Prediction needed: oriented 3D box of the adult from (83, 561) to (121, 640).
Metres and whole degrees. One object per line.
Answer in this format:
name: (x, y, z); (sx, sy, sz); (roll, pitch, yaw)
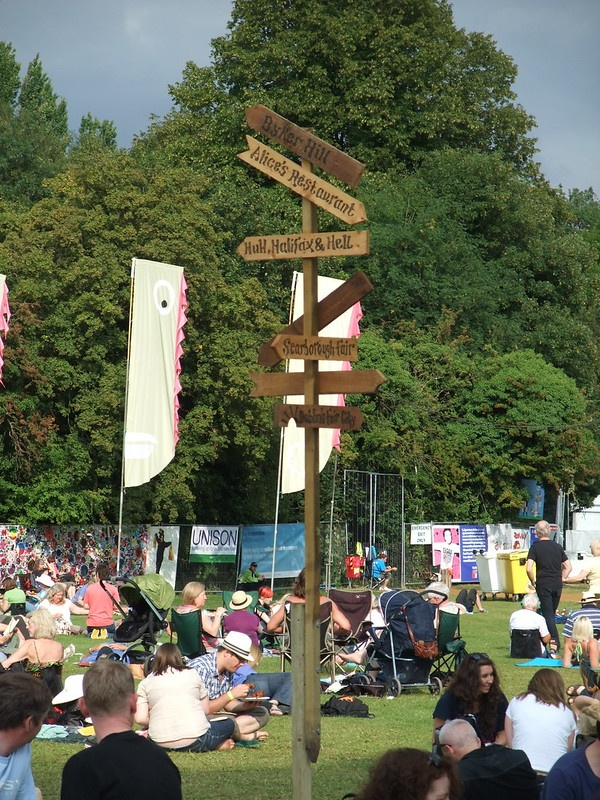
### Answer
adult: (-2.754, 2.798, 19.143); (0.467, 0.985, 0.549); (1, 17, 6)

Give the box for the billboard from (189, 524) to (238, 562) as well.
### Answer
billboard: (-1.994, 3.242, 30.222); (0.875, 0.644, 0.017); (1, -5, -41)

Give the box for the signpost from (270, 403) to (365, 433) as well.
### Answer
signpost: (0.118, 0.110, 8.992); (0.611, 0.172, 0.434); (1, -6, 4)

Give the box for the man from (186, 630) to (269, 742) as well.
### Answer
man: (-0.732, 2.570, 12.126); (0.851, 1.142, 0.878); (-2, -1, 16)

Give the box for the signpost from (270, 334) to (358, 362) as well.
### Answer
signpost: (0.137, -0.364, 8.825); (0.327, 0.179, 0.642); (-4, -8, 43)

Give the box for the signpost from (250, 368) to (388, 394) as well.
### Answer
signpost: (0.137, -0.136, 9.058); (0.408, 0.186, 1.125); (7, -8, -44)

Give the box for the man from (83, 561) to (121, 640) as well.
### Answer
man: (-2.747, 2.802, 19.135); (0.551, 1.008, 0.513); (-6, 18, -21)
